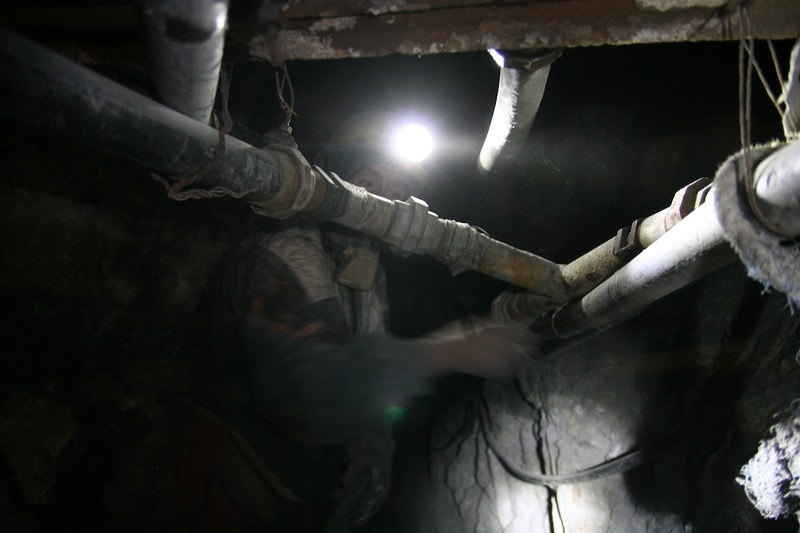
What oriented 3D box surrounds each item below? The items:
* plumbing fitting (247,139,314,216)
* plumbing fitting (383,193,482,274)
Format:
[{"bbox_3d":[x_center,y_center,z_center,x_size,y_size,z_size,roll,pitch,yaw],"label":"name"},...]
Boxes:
[{"bbox_3d":[-1.072,-0.818,6.891,0.645,0.439,0.580,28,-82,0],"label":"plumbing fitting"},{"bbox_3d":[0.333,-0.281,7.361,1.121,0.400,0.484,25,-36,-32],"label":"plumbing fitting"}]
